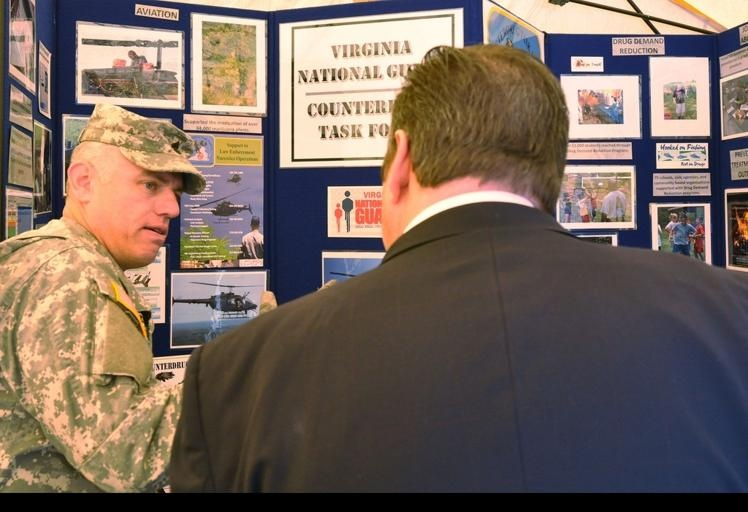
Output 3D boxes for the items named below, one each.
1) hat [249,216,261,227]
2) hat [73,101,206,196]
[{"bbox_3d":[-0.617,-0.176,3.696,0.036,0.058,0.053,0,-19,3],"label":"hat"},{"bbox_3d":[-0.880,-0.395,2.736,0.436,0.188,0.304,28,-12,-31],"label":"hat"}]
